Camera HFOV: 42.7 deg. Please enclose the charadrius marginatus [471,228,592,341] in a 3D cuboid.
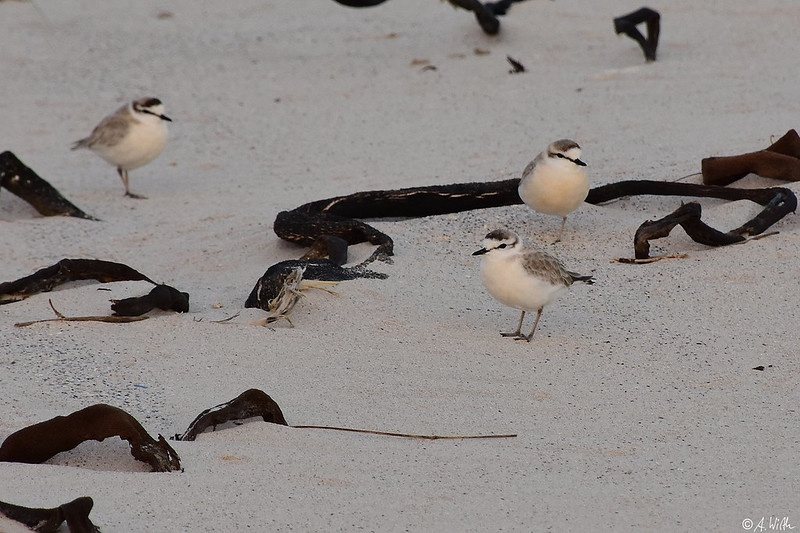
[{"bbox_3d":[1.242,0.161,9.496,1.376,0.694,0.931,-2,95,-35],"label":"charadrius marginatus"}]
